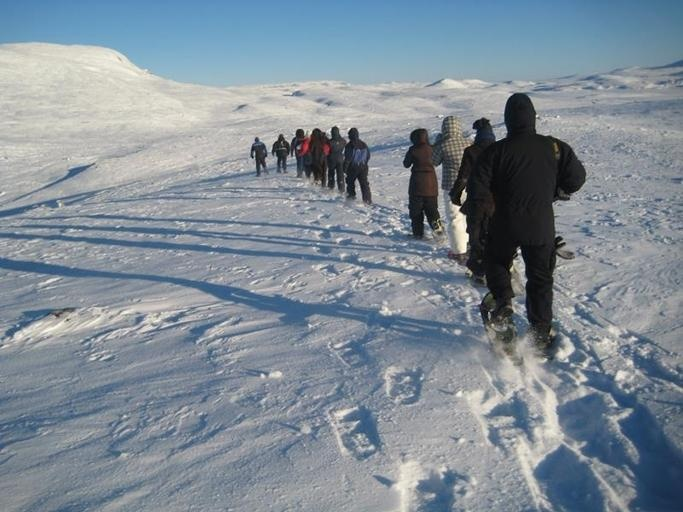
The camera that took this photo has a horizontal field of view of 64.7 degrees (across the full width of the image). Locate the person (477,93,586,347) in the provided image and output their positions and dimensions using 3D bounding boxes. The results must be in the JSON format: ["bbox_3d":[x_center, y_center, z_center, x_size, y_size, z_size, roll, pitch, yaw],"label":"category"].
[{"bbox_3d":[1.759,-0.290,5.270,0.980,2.459,1.026,4,27,19],"label":"person"}]

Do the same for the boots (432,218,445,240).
[{"bbox_3d":[1.589,-0.434,8.813,0.188,0.158,0.365,0,57,10],"label":"boots"}]
